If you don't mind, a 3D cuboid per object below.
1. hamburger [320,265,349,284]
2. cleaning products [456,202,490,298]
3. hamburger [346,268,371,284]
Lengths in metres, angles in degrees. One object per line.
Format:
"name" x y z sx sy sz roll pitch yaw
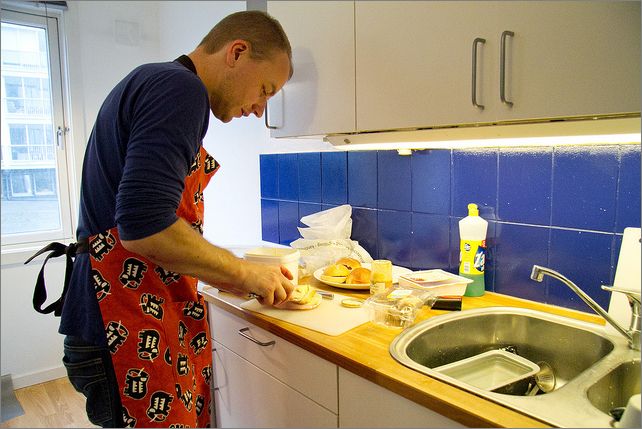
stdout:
"hamburger" 0.067 0.275 2.056 0.084 0.037 0.087 -10 10 -15
"cleaning products" 0.640 0.153 1.873 0.098 0.383 0.076 -4 7 -7
"hamburger" 0.165 0.275 1.998 0.108 0.058 0.073 -2 6 9
